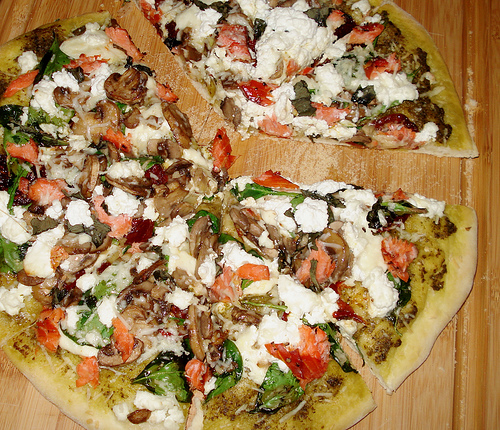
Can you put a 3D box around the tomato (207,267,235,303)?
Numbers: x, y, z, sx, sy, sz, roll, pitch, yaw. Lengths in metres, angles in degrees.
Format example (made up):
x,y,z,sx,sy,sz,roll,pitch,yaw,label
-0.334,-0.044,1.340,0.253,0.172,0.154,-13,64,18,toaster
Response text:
x,y,z,sx,sy,sz,roll,pitch,yaw,label
-0.114,0.291,2.193,0.113,0.037,0.134,20,97,34,tomato

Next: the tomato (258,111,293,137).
x,y,z,sx,sy,sz,roll,pitch,yaw,label
0.118,-0.410,2.486,0.141,0.089,0.029,16,45,-5,tomato

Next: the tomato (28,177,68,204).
x,y,z,sx,sy,sz,roll,pitch,yaw,label
-0.838,-0.103,2.216,0.145,0.039,0.107,8,82,3,tomato

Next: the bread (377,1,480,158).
x,y,z,sx,sy,sz,roll,pitch,yaw,label
0.879,-0.629,2.662,0.594,0.096,0.704,-8,80,-4,bread

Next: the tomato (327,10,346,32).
x,y,z,sx,sy,sz,roll,pitch,yaw,label
0.389,-0.881,2.430,0.102,0.048,0.085,10,93,-9,tomato

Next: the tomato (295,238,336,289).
x,y,z,sx,sy,sz,roll,pitch,yaw,label
0.275,0.206,2.218,0.164,0.058,0.180,30,102,0,tomato

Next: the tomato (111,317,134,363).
x,y,z,sx,sy,sz,roll,pitch,yaw,label
-0.511,0.502,2.162,0.138,0.041,0.142,-1,95,23,tomato

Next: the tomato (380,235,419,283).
x,y,z,sx,sy,sz,roll,pitch,yaw,label
0.613,0.176,2.223,0.205,0.069,0.167,14,79,-19,tomato

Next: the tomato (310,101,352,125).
x,y,z,sx,sy,sz,roll,pitch,yaw,label
0.359,-0.462,2.394,0.154,0.031,0.074,-7,67,-10,tomato

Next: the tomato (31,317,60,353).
x,y,z,sx,sy,sz,roll,pitch,yaw,label
-0.844,0.475,2.217,0.107,0.033,0.159,-3,26,-34,tomato

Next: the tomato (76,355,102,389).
x,y,z,sx,sy,sz,roll,pitch,yaw,label
-0.657,0.636,2.163,0.129,0.032,0.113,2,100,-8,tomato

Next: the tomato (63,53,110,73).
x,y,z,sx,sy,sz,roll,pitch,yaw,label
-0.713,-0.660,2.348,0.196,0.029,0.069,-9,54,-6,tomato

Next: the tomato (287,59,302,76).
x,y,z,sx,sy,sz,roll,pitch,yaw,label
0.193,-0.640,2.322,0.071,0.055,0.019,0,36,-21,tomato

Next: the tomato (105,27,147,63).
x,y,z,sx,sy,sz,roll,pitch,yaw,label
-0.597,-0.781,2.510,0.190,0.045,0.113,45,69,-13,tomato

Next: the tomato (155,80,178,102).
x,y,z,sx,sy,sz,roll,pitch,yaw,label
-0.373,-0.554,2.415,0.129,0.059,0.034,24,89,0,tomato

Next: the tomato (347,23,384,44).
x,y,z,sx,sy,sz,roll,pitch,yaw,label
0.527,-0.829,2.455,0.161,0.033,0.084,-20,66,-25,tomato

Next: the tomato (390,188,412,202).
x,y,z,sx,sy,sz,roll,pitch,yaw,label
0.669,-0.090,2.375,0.077,0.027,0.063,-9,37,-9,tomato
